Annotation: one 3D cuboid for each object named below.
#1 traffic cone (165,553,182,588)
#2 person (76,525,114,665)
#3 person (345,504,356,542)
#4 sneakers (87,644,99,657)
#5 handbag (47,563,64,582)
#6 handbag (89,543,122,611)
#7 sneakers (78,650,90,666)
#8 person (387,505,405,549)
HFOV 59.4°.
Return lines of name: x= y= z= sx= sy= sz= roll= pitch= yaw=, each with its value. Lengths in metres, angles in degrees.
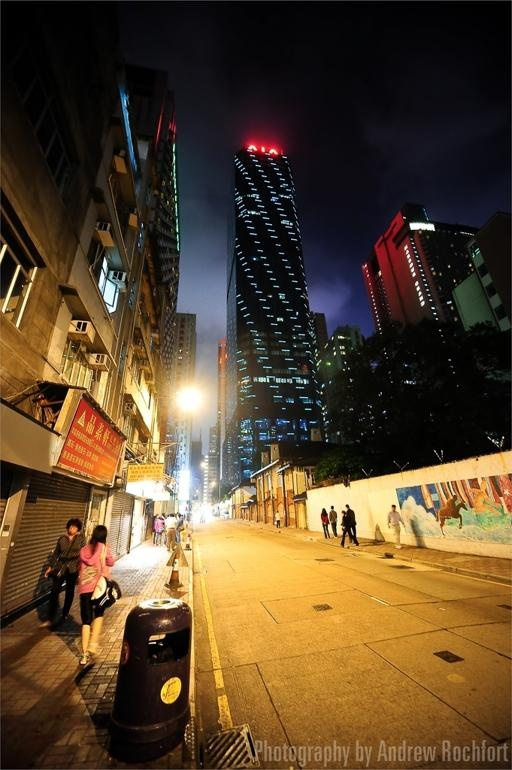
traffic cone: x=-1.777 y=4.369 z=10.307 sx=0.360 sy=0.954 sz=0.392 roll=-6 pitch=-9 yaw=35
person: x=-2.010 y=2.786 z=5.938 sx=0.422 sy=1.722 sz=0.746 roll=-1 pitch=0 yaw=-22
person: x=3.163 y=4.991 z=15.383 sx=0.372 sy=1.357 sz=1.307 roll=-1 pitch=-4 yaw=12
sneakers: x=-2.020 y=3.526 z=5.888 sx=0.104 sy=0.171 sz=0.252 roll=-1 pitch=-7 yaw=-9
handbag: x=-2.982 y=3.034 z=7.060 sx=0.221 sy=0.358 sz=0.578 roll=0 pitch=-7 yaw=-21
handbag: x=-2.131 y=2.975 z=6.700 sx=0.185 sy=0.910 sz=0.808 roll=-8 pitch=-37 yaw=-6
sneakers: x=-2.050 y=3.521 z=5.647 sx=0.066 sy=0.130 sz=0.320 roll=7 pitch=-44 yaw=-15
person: x=4.198 y=4.521 z=13.989 sx=0.388 sy=1.445 sz=2.098 roll=-1 pitch=-6 yaw=18
